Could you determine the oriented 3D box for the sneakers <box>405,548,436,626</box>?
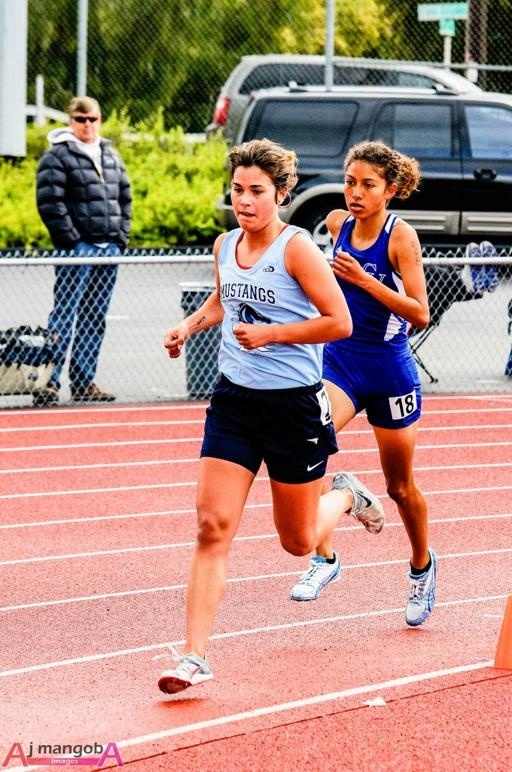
[{"bbox_3d":[0.648,0.797,3.357,0.093,0.266,0.117,-1,-22,36],"label":"sneakers"}]

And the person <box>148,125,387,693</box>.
[{"bbox_3d":[0.001,0.103,2.759,0.603,1.723,0.906,0,4,3],"label":"person"}]

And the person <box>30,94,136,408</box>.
[{"bbox_3d":[-1.420,-1.109,7.015,0.823,2.548,0.428,-2,5,-29],"label":"person"}]

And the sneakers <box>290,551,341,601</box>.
[{"bbox_3d":[0.257,0.802,3.658,0.103,0.126,0.311,11,29,36],"label":"sneakers"}]

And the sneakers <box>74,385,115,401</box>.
[{"bbox_3d":[-1.355,0.056,7.213,0.371,0.141,0.117,-2,6,-22],"label":"sneakers"}]

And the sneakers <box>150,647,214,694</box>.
[{"bbox_3d":[-0.198,0.826,2.421,0.159,0.115,0.096,-1,4,-15],"label":"sneakers"}]
